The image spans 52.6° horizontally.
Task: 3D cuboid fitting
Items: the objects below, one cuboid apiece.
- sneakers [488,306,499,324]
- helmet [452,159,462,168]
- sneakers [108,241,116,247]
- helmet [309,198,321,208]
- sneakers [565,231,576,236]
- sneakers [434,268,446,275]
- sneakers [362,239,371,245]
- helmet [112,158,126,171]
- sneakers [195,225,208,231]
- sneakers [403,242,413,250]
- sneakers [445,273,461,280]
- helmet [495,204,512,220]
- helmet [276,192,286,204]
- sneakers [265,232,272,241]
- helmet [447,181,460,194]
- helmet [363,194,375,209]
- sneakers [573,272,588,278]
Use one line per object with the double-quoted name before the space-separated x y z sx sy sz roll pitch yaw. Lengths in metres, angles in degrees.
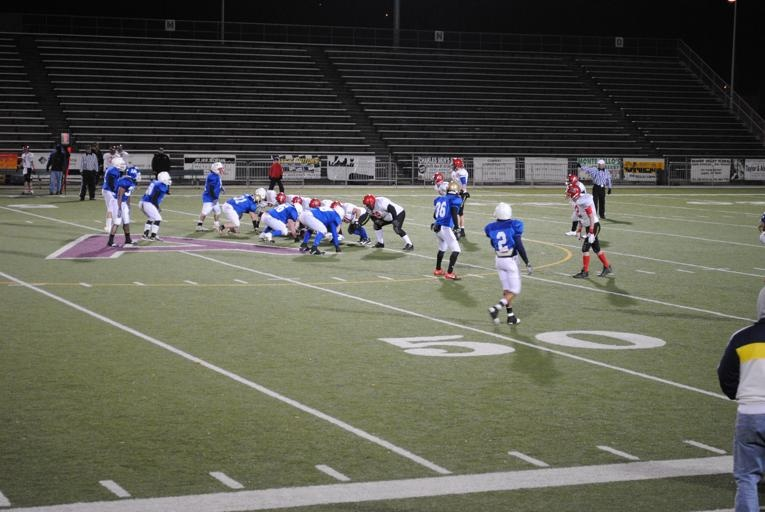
"sneakers" 1.806 0.946 12.443 0.154 0.239 0.203 -5 4 2
"helmet" 2.462 -3.018 24.965 0.392 0.328 0.393 -1 4 6
"sneakers" -6.572 -0.299 18.909 0.226 0.166 0.335 -3 12 -20
"helmet" -1.621 -1.281 18.840 0.258 0.175 0.230 4 18 -5
"sneakers" 5.451 -0.653 22.437 0.327 0.117 0.105 2 37 1
"sneakers" 1.227 0.346 16.369 0.244 0.084 0.095 -2 9 0
"sneakers" -0.435 -0.377 20.617 0.284 0.170 0.365 1 11 -3
"helmet" -6.518 -2.284 19.201 0.290 0.303 0.381 -4 13 -22
"sneakers" -5.252 -0.797 22.421 0.447 0.166 0.135 0 12 3
"sneakers" 0.672 -0.245 19.873 0.270 0.200 0.438 2 11 1
"sneakers" 1.466 0.424 15.988 0.351 0.121 0.125 1 8 -13
"helmet" 1.975 -0.702 12.620 0.298 0.283 0.351 1 16 4
"helmet" -2.800 -1.588 21.453 0.282 0.336 0.113 0 47 -18
"sneakers" -3.028 -0.521 20.666 0.176 0.188 0.113 24 43 16
"helmet" 1.500 -1.422 16.172 0.242 0.254 0.267 5 -7 8
"helmet" -0.322 -1.364 19.492 0.293 0.294 0.480 1 11 -3
"sneakers" 4.169 0.405 16.226 0.363 0.139 0.110 1 1 -14
